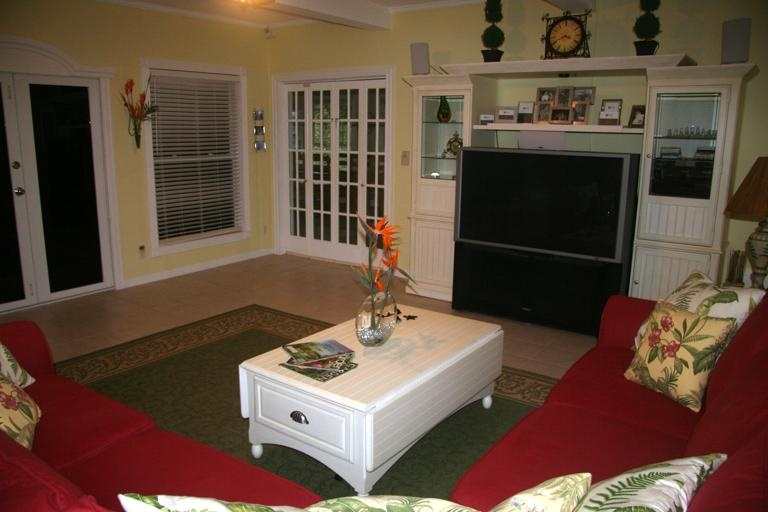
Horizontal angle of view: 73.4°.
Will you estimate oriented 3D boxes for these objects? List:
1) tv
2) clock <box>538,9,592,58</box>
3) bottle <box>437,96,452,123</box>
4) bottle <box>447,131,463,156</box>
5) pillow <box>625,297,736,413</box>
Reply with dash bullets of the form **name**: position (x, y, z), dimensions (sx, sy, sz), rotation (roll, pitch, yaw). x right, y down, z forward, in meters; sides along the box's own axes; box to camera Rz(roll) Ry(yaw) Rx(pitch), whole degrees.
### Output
- **tv**: position (1.457, -0.523, 4.904), dimensions (1.561, 0.929, 0.160), rotation (10, 18, 28)
- **clock**: position (1.701, -2.061, 4.823), dimensions (0.455, 0.444, 0.357), rotation (8, 17, 22)
- **bottle**: position (0.628, -1.533, 5.414), dimensions (0.163, 0.266, 0.061), rotation (16, 21, 42)
- **bottle**: position (0.746, -1.182, 5.401), dimensions (0.240, 0.279, 0.029), rotation (19, 20, 39)
- **pillow**: position (1.701, 0.564, 2.917), dimensions (0.156, 0.513, 0.511), rotation (21, 7, -27)
